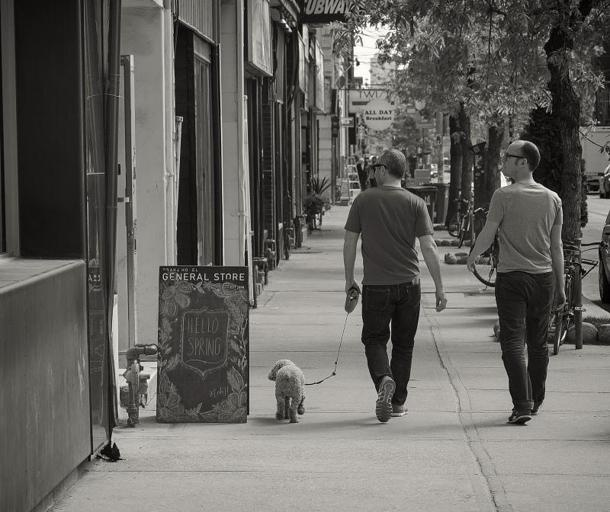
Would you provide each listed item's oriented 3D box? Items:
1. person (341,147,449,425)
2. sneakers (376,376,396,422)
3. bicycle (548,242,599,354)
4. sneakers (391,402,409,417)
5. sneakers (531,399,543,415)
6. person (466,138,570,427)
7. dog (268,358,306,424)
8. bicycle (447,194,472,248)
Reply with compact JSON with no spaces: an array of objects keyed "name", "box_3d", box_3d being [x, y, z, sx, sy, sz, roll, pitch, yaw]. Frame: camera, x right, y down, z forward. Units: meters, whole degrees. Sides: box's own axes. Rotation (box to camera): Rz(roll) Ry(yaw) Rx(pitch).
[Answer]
[{"name":"person","box_3d":[0.686,0.216,8.143,0.759,2.059,0.600,-2,4,2]},{"name":"sneakers","box_3d":[0.610,1.075,8.012,0.132,0.365,0.235,-2,4,-6]},{"name":"bicycle","box_3d":[2.803,0.468,11.518,0.606,0.899,1.376,1,-4,14]},{"name":"sneakers","box_3d":[0.738,1.194,8.240,0.057,0.077,0.155,-1,5,-34]},{"name":"sneakers","box_3d":[1.797,1.168,8.196,0.064,0.100,0.216,2,14,14]},{"name":"person","box_3d":[1.664,0.185,8.109,0.730,2.099,0.453,-4,4,-30]},{"name":"dog","box_3d":[-0.135,1.037,8.083,0.257,0.476,0.263,-2,4,-3]},{"name":"bicycle","box_3d":[3.650,-0.781,24.145,0.580,0.884,1.315,1,2,-2]}]
